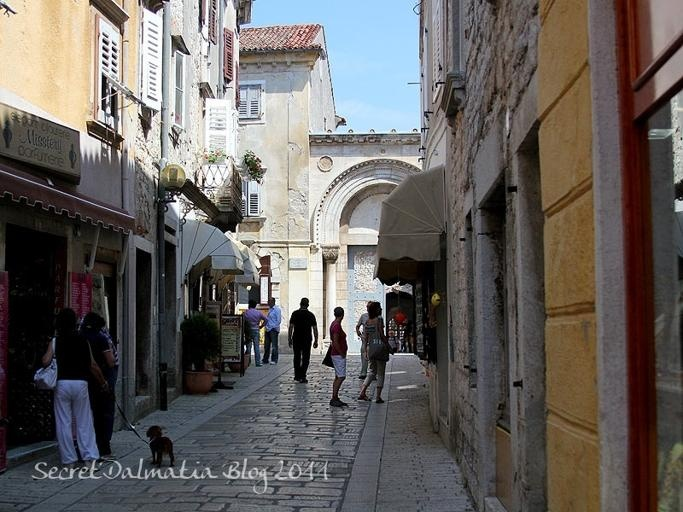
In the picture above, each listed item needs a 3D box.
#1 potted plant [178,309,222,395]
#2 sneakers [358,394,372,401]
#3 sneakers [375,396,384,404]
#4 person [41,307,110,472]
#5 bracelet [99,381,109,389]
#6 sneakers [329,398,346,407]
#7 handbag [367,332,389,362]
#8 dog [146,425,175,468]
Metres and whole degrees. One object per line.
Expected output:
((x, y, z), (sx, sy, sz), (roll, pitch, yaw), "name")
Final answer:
((-3.002, 2.032, 16.145), (0.805, 1.658, 0.914), (2, -7, -19), "potted plant")
((0.450, 2.759, 15.093), (0.246, 0.129, 0.102), (3, -2, 1), "sneakers")
((0.734, 2.736, 14.697), (0.194, 0.158, 0.066), (-2, 2, -36), "sneakers")
((-3.172, 1.503, 8.960), (0.645, 1.799, 0.219), (3, -7, -26), "person")
((-2.919, 1.564, 9.358), (0.090, 0.099, 0.074), (-20, 2, -20), "bracelet")
((-0.069, 2.696, 14.181), (0.312, 0.167, 0.129), (1, -1, 4), "sneakers")
((0.712, 1.761, 14.734), (0.402, 0.486, 0.285), (-1, -7, 2), "handbag")
((-2.143, 2.213, 9.058), (0.316, 0.462, 0.591), (1, -8, -13), "dog")
